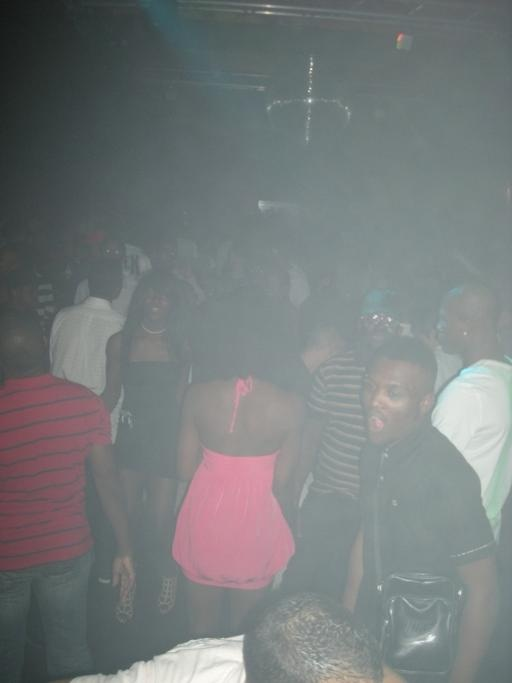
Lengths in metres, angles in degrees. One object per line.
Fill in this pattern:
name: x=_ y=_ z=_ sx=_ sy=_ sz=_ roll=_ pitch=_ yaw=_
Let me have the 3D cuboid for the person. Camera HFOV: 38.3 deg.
person: x=-0.193 y=0.458 z=2.527 sx=1.262 sy=1.088 sz=0.345 roll=5 pitch=2 yaw=-10
